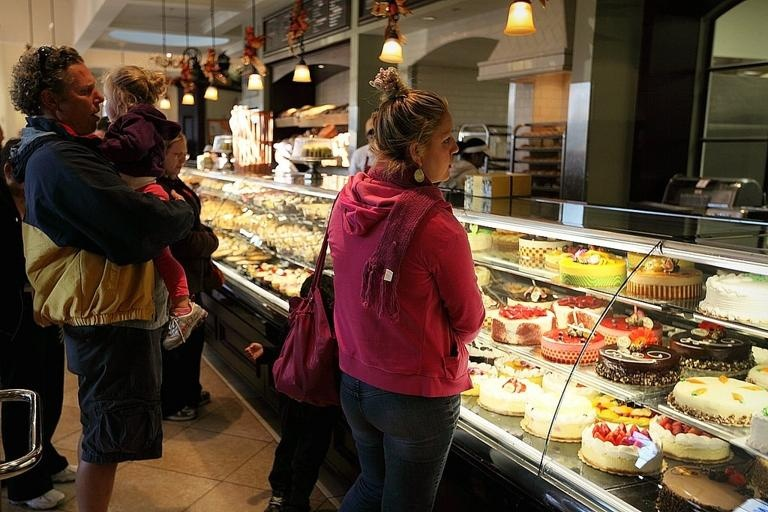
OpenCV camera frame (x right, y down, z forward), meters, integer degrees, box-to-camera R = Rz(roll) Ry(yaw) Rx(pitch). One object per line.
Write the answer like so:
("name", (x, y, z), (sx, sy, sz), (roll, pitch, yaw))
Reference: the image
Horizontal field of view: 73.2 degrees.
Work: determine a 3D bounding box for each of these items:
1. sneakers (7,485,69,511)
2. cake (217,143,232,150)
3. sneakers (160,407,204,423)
("sneakers", (-2.021, 1.415, 3.004), (0.231, 0.076, 0.137), (-1, 2, -8))
("cake", (-1.986, -1.345, 6.468), (0.135, 0.114, 0.131), (2, -2, 13))
("sneakers", (-1.565, 1.230, 4.013), (0.283, 0.112, 0.101), (4, -1, -5))
